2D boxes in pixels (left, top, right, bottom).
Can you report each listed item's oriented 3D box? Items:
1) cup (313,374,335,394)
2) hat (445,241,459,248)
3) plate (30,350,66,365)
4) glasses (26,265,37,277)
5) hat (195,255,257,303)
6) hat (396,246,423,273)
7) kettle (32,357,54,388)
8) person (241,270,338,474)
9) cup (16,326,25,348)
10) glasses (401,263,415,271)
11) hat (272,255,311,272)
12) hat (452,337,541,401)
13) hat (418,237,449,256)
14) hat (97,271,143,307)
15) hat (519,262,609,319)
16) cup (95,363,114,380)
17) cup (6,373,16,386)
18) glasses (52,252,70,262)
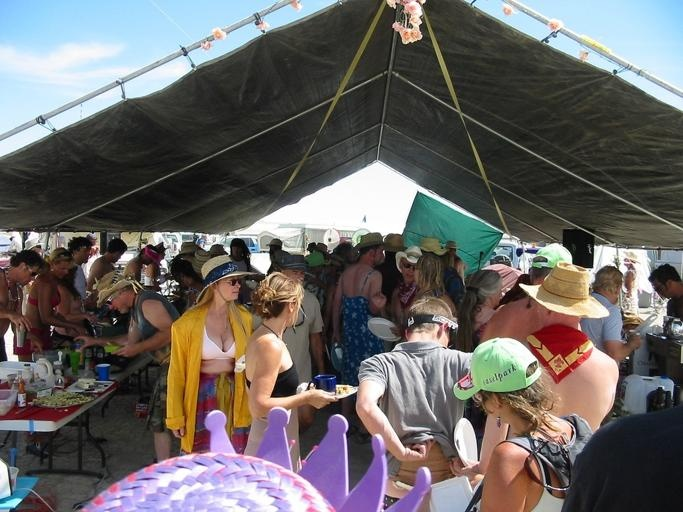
[{"bbox_3d":[-0.122,0.811,4.178,0.149,0.086,0.087,-1,-2,13],"label":"cup"},{"bbox_3d":[1.332,-0.124,7.902,0.158,0.068,0.193,5,-6,2],"label":"hat"},{"bbox_3d":[-2.490,0.845,5.567,0.224,0.111,0.247,0,-11,-1],"label":"plate"},{"bbox_3d":[-2.922,0.145,6.143,0.084,0.069,0.082,-12,16,-34],"label":"glasses"},{"bbox_3d":[-0.876,0.133,4.684,0.379,0.175,0.356,-23,-2,16],"label":"hat"},{"bbox_3d":[0.664,0.020,6.331,0.248,0.113,0.262,26,-16,-5],"label":"hat"},{"bbox_3d":[-2.424,0.948,5.269,0.258,0.227,0.114,-1,-10,-4],"label":"kettle"},{"bbox_3d":[-0.354,0.694,4.117,0.495,1.174,0.411,7,-4,-15],"label":"person"},{"bbox_3d":[-3.034,0.759,6.140,0.085,0.165,0.220,8,-4,-25],"label":"cup"},{"bbox_3d":[0.616,0.095,6.247,0.083,0.064,0.169,8,-5,-40],"label":"glasses"},{"bbox_3d":[-0.533,0.060,6.194,0.375,0.114,0.262,4,0,43],"label":"hat"},{"bbox_3d":[0.743,0.540,3.145,0.380,0.192,0.253,-6,21,31],"label":"hat"},{"bbox_3d":[0.998,-0.111,7.079,0.278,0.257,0.894,5,-3,6],"label":"hat"},{"bbox_3d":[-1.812,0.231,5.194,0.292,0.160,0.277,-37,17,-25],"label":"hat"},{"bbox_3d":[1.317,0.217,3.847,0.378,0.150,0.403,-3,23,-39],"label":"hat"},{"bbox_3d":[-2.000,0.982,5.530,0.158,0.124,0.121,-1,1,3],"label":"cup"},{"bbox_3d":[-2.556,0.944,5.050,0.082,0.061,0.084,-1,-13,0],"label":"cup"},{"bbox_3d":[-2.714,0.003,6.293,0.129,0.114,0.089,20,32,4],"label":"glasses"}]
